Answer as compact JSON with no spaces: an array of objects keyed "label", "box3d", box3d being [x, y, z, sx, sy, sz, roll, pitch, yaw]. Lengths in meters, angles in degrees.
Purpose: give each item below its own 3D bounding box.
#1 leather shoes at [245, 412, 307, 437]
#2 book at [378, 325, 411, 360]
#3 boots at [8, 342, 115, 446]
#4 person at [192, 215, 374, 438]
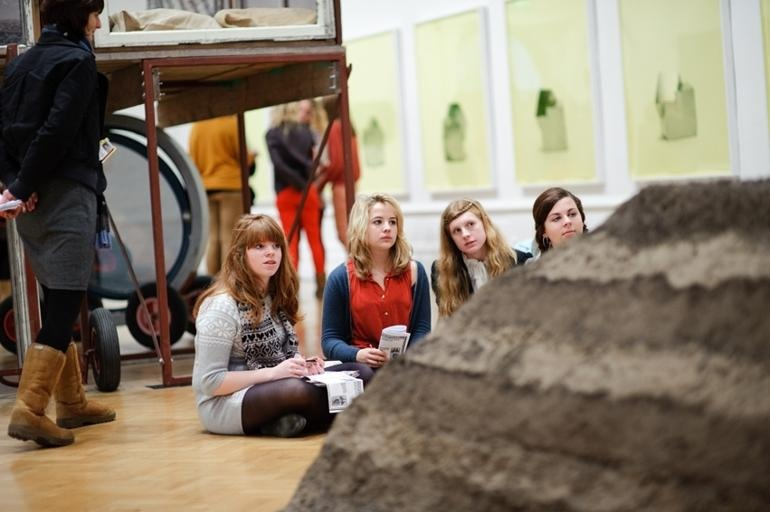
[{"label":"leather shoes","box3d":[-0.488,0.826,5.014,0.164,0.084,0.110,-7,0,13]},{"label":"book","box3d":[0.046,0.411,5.021,0.138,0.161,0.156,-8,12,-8]},{"label":"boots","box3d":[-1.603,0.682,5.164,0.416,0.449,0.465,-5,5,-23]},{"label":"person","box3d":[-0.386,0.407,5.601,0.887,1.439,1.018,-3,-5,9]}]
